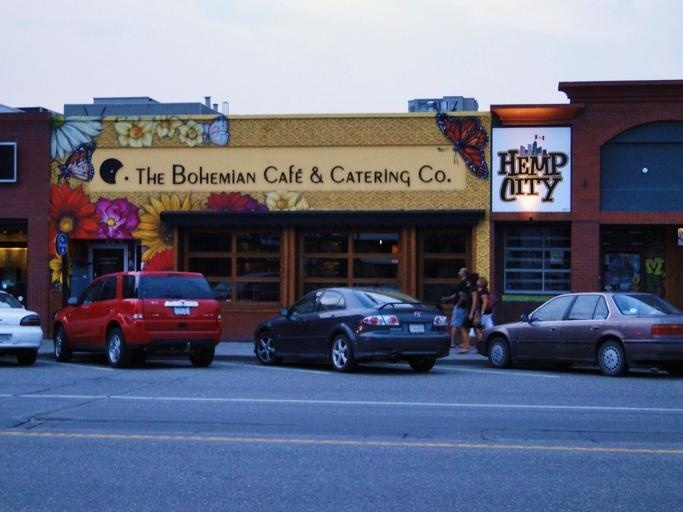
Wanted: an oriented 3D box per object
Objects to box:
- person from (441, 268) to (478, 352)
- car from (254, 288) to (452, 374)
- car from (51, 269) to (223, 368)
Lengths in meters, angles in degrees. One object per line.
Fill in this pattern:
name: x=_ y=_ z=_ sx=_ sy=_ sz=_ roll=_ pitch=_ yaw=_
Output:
person: x=2.983 y=1.239 z=25.533 sx=0.710 sy=2.006 sz=0.606 roll=1 pitch=0 yaw=34
car: x=0.105 y=1.441 z=21.817 sx=1.699 sy=1.191 sz=3.362 roll=4 pitch=-3 yaw=-37
car: x=-4.217 y=1.243 z=22.058 sx=1.682 sy=1.893 sz=4.237 roll=1 pitch=-1 yaw=-45
